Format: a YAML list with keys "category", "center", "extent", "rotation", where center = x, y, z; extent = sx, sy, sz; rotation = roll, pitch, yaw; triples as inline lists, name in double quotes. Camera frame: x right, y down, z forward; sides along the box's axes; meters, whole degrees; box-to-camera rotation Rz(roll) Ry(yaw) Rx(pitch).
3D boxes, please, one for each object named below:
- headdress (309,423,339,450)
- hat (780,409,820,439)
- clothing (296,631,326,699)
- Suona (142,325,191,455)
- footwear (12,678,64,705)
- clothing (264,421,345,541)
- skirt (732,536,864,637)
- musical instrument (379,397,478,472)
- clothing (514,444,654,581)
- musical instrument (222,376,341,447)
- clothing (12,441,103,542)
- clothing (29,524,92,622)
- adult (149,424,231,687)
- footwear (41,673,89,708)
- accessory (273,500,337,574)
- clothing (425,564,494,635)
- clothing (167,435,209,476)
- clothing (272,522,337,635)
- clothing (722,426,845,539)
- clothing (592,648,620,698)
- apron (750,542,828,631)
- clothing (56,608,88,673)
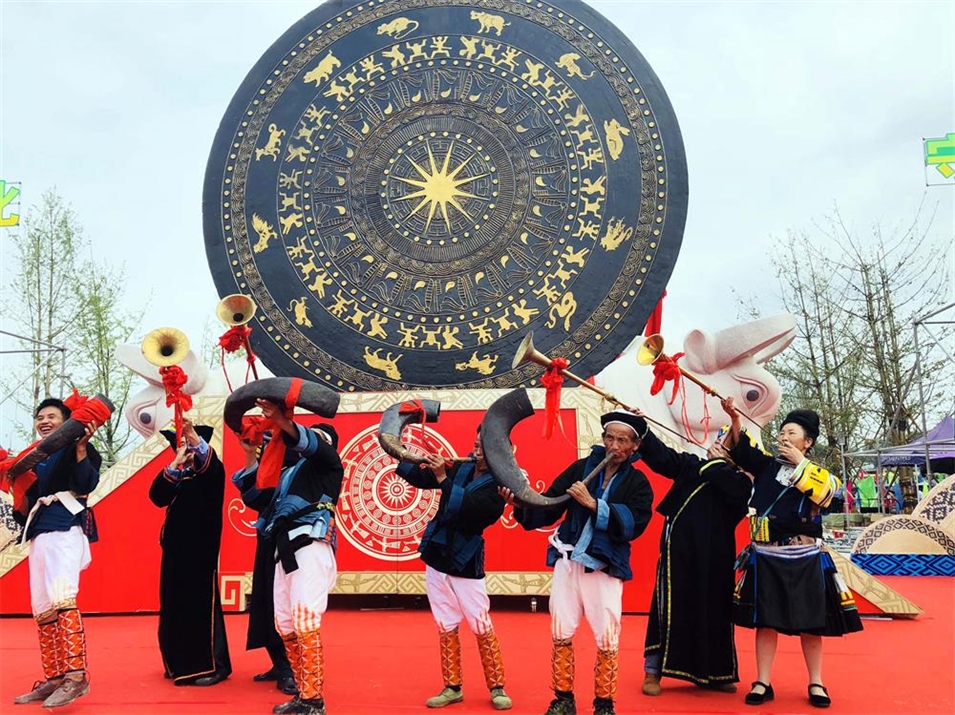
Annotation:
- category: "headdress"
  center: [-1.050, 0.505, 7.505]
  extent: [0.135, 0.194, 0.172]
  rotation: [-5, 13, 4]
- category: "hat"
  center: [2.163, 0.455, 7.509]
  extent: [0.212, 0.178, 0.211]
  rotation: [16, -6, -12]
- category: "clothing"
  center: [-1.064, 1.898, 6.983]
  extent: [0.138, 0.392, 0.234]
  rotation: [-1, 4, -15]
- category: "Suona"
  center: [-2.051, 0.286, 7.479]
  extent: [0.215, 0.795, 0.244]
  rotation: [11, 34, 8]
- category: "footwear"
  center: [-2.844, 2.148, 7.212]
  extent: [0.369, 0.161, 0.136]
  rotation: [2, 3, -13]
- category: "clothing"
  center: [-1.164, 0.801, 7.251]
  extent: [0.378, 0.614, 0.443]
  rotation: [26, -45, -14]
- category: "skirt"
  center: [2.093, 1.524, 7.461]
  extent: [0.801, 0.624, 0.446]
  rotation: [-3, -10, 20]
- category: "musical instrument"
  center: [-0.395, 0.520, 7.395]
  extent: [0.561, 0.231, 0.658]
  rotation: [-9, 36, 2]
- category: "clothing"
  center: [0.699, 0.958, 7.273]
  extent: [0.757, 0.913, 0.475]
  rotation: [13, -6, 13]
- category: "musical instrument"
  center: [-1.299, 0.311, 7.172]
  extent: [0.671, 0.281, 0.811]
  rotation: [6, 10, 28]
- category: "clothing"
  center: [-2.795, 0.886, 7.438]
  extent: [0.492, 0.667, 0.208]
  rotation: [25, -7, -28]
- category: "clothing"
  center: [-2.779, 1.412, 7.343]
  extent: [0.341, 0.575, 0.309]
  rotation: [-2, 4, -24]
- category: "adult"
  center: [-1.992, 1.305, 7.660]
  extent: [0.497, 1.778, 0.509]
  rotation: [-2, 4, -17]
- category: "footwear"
  center: [-2.631, 2.096, 7.123]
  extent: [0.306, 0.196, 0.223]
  rotation: [-3, 4, -35]
- category: "accessory"
  center: [-1.136, 1.111, 7.134]
  extent: [0.388, 0.408, 0.171]
  rotation: [-27, -15, 6]
- category: "clothing"
  center: [-0.130, 1.512, 7.357]
  extent: [0.376, 0.787, 0.235]
  rotation: [-4, 20, 4]
- category: "clothing"
  center: [-1.978, 0.675, 7.640]
  extent: [0.284, 0.243, 0.100]
  rotation: [-29, 50, -30]
- category: "clothing"
  center: [-1.118, 1.430, 7.279]
  extent: [0.451, 0.664, 0.350]
  rotation: [-16, 27, -28]
- category: "clothing"
  center: [2.045, 0.723, 7.509]
  extent: [0.849, 0.471, 0.469]
  rotation: [20, -27, -2]
- category: "clothing"
  center: [0.793, 1.959, 6.952]
  extent: [0.218, 0.385, 0.250]
  rotation: [2, -22, 4]
- category: "apron"
  center: [2.040, 1.503, 7.282]
  extent: [0.469, 0.512, 0.261]
  rotation: [1, -18, 5]
- category: "clothing"
  center: [-2.638, 1.811, 7.203]
  extent: [0.139, 0.384, 0.228]
  rotation: [-3, 4, -30]
